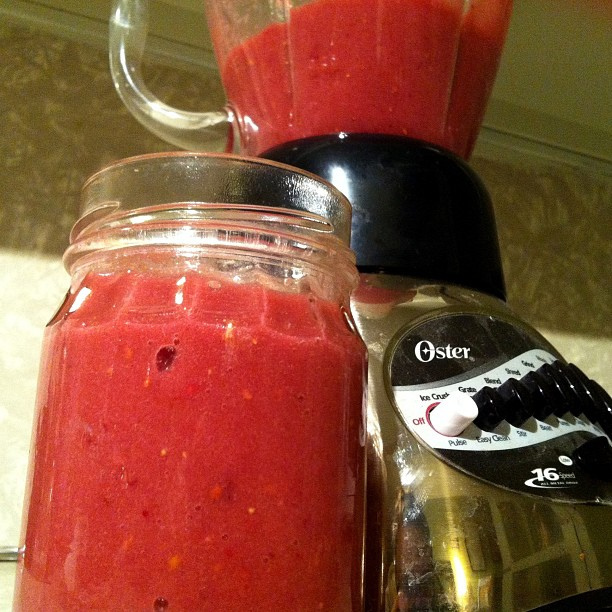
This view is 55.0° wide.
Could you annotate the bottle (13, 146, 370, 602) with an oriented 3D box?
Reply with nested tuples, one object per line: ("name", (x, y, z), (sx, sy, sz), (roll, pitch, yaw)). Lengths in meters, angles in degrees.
("bottle", (-0.039, 0.038, 0.440), (0.240, 0.230, 0.317), (-1, 82, 11))
